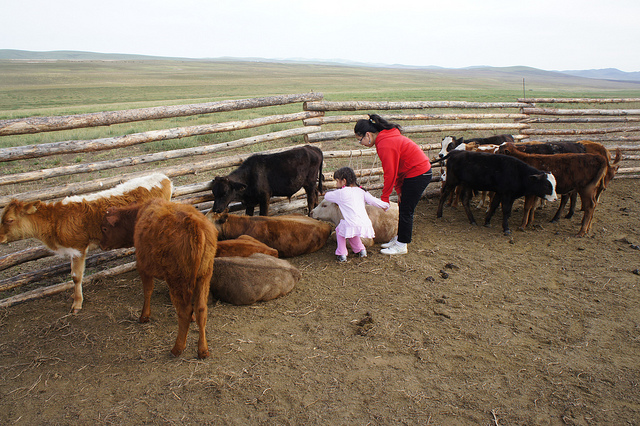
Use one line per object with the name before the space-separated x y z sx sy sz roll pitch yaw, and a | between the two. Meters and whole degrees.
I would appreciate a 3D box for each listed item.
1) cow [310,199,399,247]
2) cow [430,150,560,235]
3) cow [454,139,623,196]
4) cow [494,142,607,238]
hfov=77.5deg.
cow | 0.778 0.221 7.752 2.204 1.002 0.737 6 -9 -30
cow | 3.622 -0.517 8.612 2.750 1.569 0.928 16 21 40
cow | 4.599 -1.004 8.645 3.814 1.536 1.288 5 2 9
cow | 4.929 -0.601 8.942 2.356 1.780 0.762 14 23 30
